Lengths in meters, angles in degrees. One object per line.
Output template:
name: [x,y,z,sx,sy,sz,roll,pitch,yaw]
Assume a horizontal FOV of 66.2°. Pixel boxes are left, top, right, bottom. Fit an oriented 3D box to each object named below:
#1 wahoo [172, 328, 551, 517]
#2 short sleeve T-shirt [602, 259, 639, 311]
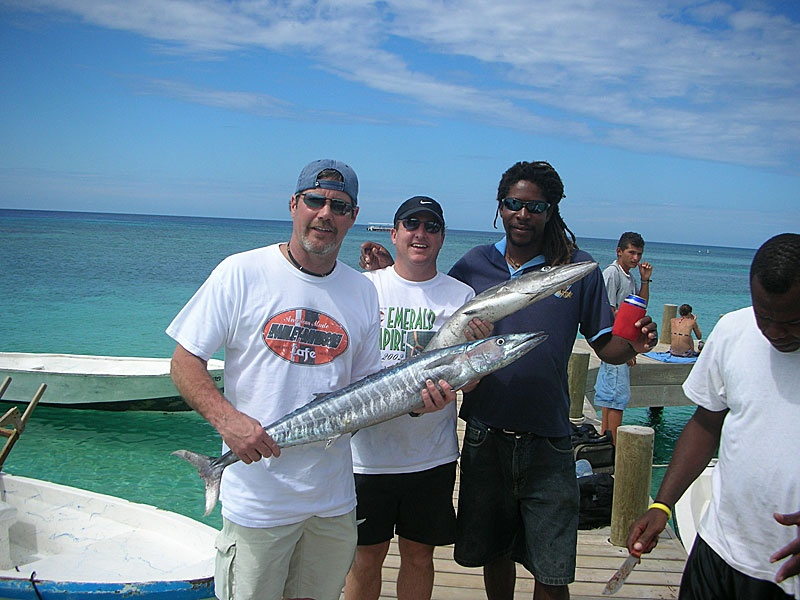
wahoo: [-0.163,0.917,4.536,3.269,0.598,0.491,-17,55,-11]
short sleeve T-shirt: [3.168,-0.230,8.801,1.118,0.762,0.399,-4,4,-44]
